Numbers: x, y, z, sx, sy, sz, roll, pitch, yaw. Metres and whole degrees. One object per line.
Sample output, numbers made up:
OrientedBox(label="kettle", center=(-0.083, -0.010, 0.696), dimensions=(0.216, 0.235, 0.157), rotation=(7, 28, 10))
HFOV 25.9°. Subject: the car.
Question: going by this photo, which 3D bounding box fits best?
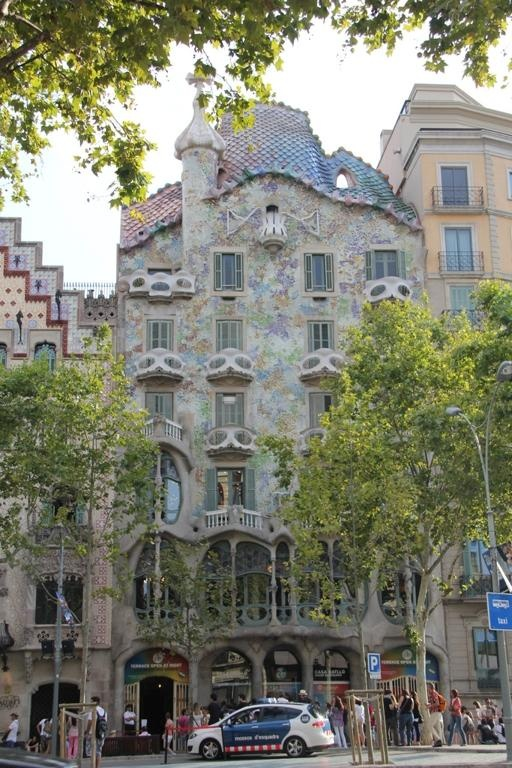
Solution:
OrientedBox(label="car", center=(0.134, 8.564, 27.356), dimensions=(2.892, 0.972, 1.536), rotation=(-2, -26, 11))
